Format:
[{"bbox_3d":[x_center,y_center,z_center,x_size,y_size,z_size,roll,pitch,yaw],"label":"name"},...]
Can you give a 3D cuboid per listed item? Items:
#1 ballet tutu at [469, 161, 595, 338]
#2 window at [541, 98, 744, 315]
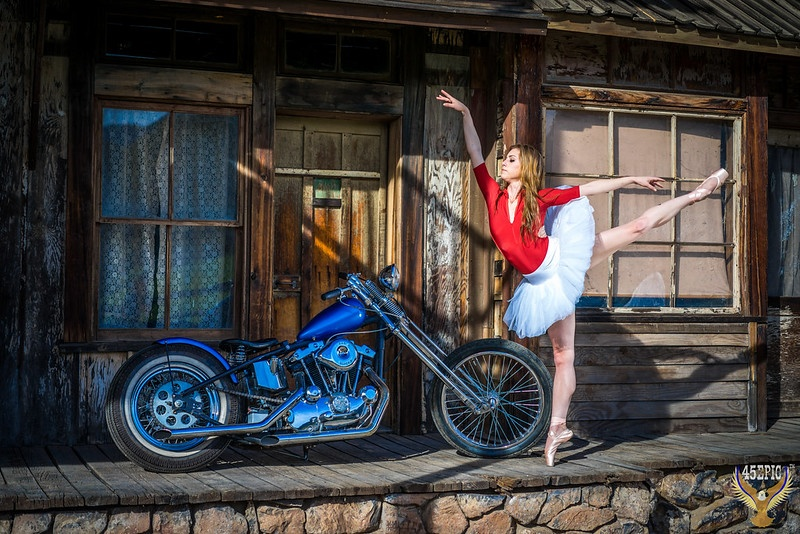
[{"bbox_3d":[1.135,-0.336,8.231,0.784,1.668,0.883,-11,15,23],"label":"ballet tutu"},{"bbox_3d":[2.097,-0.538,8.920,1.642,1.742,0.176,0,-1,-8],"label":"window"}]
